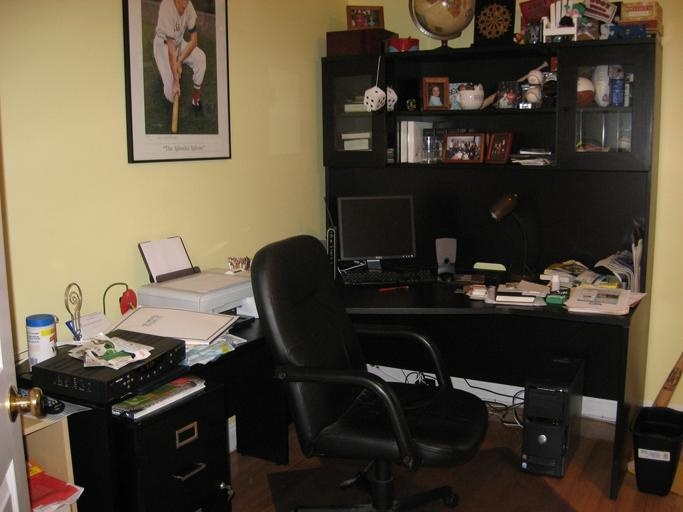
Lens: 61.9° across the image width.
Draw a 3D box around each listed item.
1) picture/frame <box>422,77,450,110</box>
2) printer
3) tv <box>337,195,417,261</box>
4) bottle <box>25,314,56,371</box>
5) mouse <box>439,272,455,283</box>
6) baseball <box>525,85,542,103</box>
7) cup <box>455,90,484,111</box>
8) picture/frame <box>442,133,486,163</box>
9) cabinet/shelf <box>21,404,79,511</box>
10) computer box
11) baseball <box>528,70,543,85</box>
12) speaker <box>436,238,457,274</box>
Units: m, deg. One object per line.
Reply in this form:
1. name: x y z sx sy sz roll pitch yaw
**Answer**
1. picture/frame: 0.588 -0.985 3.546 0.211 0.273 0.019 1 -4 -2
2. printer: -0.692 0.120 2.633 0.400 0.254 0.415 6 12 27
3. tv: 0.214 -0.165 3.588 0.398 0.335 0.040 -1 -1 -10
4. bottle: -1.130 0.319 2.145 0.104 0.176 0.182 -9 14 -30
5. mouse: 0.623 0.129 3.367 0.070 0.062 0.053 -15 19 -15
6. baseball: 1.122 -0.920 3.370 0.086 0.089 0.101 1 48 42
7. cup: 0.782 -0.925 3.499 0.118 0.090 0.126 -1 7 0
8. picture/frame: 0.768 -0.648 3.516 0.193 0.169 0.027 1 -9 16
9. cabinet/shelf: -1.040 0.684 2.029 0.151 0.324 0.193 -9 14 -31
10. computer box: 1.141 0.854 3.077 0.281 0.554 0.343 4 13 24
11. baseball: 1.142 -1.024 3.337 0.085 0.086 0.060 -6 13 -20
12. speaker: 0.656 0.002 3.574 0.122 0.232 0.212 0 8 10
